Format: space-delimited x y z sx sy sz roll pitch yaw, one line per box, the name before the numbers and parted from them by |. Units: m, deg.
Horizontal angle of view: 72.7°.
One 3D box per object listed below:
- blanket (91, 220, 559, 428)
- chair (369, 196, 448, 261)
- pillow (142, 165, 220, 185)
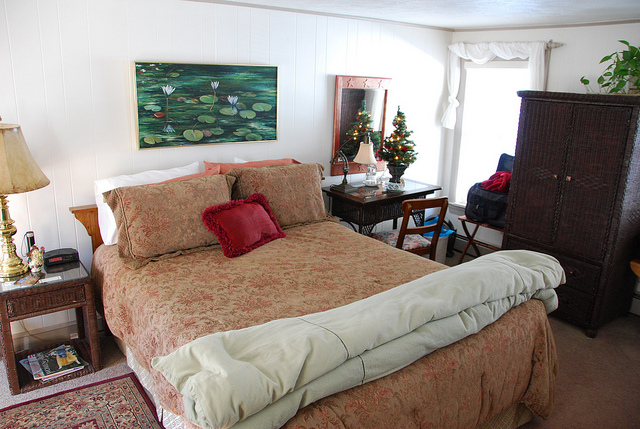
blanket | -0.195 0.602 3.073 1.884 0.517 2.163 -12 23 -32
chair | 0.911 0.140 4.471 0.523 0.815 0.542 -13 30 -27
pillow | -1.062 -0.359 3.879 0.781 0.169 0.082 -15 67 -21
